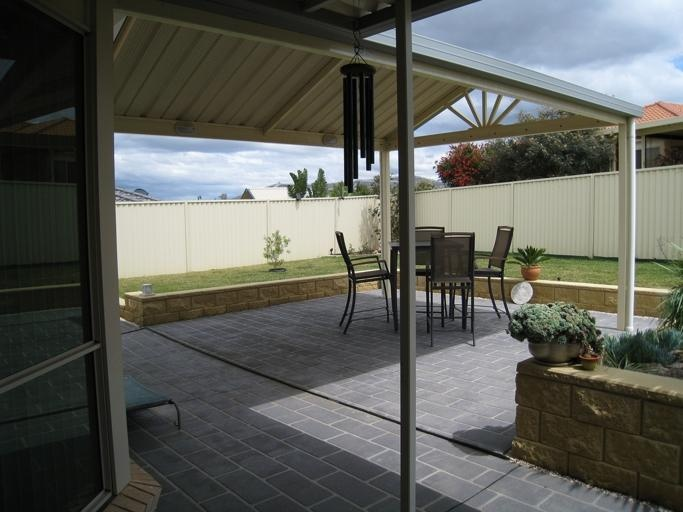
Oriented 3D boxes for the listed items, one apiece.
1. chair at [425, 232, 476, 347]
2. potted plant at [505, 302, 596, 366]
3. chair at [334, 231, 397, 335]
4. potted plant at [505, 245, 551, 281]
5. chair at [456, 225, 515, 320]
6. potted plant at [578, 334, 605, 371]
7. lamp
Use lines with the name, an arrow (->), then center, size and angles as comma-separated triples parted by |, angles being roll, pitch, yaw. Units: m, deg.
chair -> 1.285, 0.347, 5.473 | 0.568, 1.253, 1.093 | -1, 7, 14
potted plant -> 1.283, 0.455, 2.836 | 0.416, 0.280, 0.430 | 0, -3, 3
chair -> 0.330, 0.362, 6.106 | 0.947, 1.120, 0.942 | -1, 2, 39
potted plant -> 3.000, 0.130, 7.286 | 0.519, 0.435, 0.591 | 3, 2, 43
chair -> 1.769, 0.229, 6.095 | 1.055, 1.211, 1.045 | -1, 1, 26
potted plant -> 1.447, 0.564, 2.686 | 0.143, 0.168, 0.129 | 3, 2, 1
lamp -> 0.126, -0.932, 3.412 | 0.254, 0.920, 0.422 | -2, 7, 1
